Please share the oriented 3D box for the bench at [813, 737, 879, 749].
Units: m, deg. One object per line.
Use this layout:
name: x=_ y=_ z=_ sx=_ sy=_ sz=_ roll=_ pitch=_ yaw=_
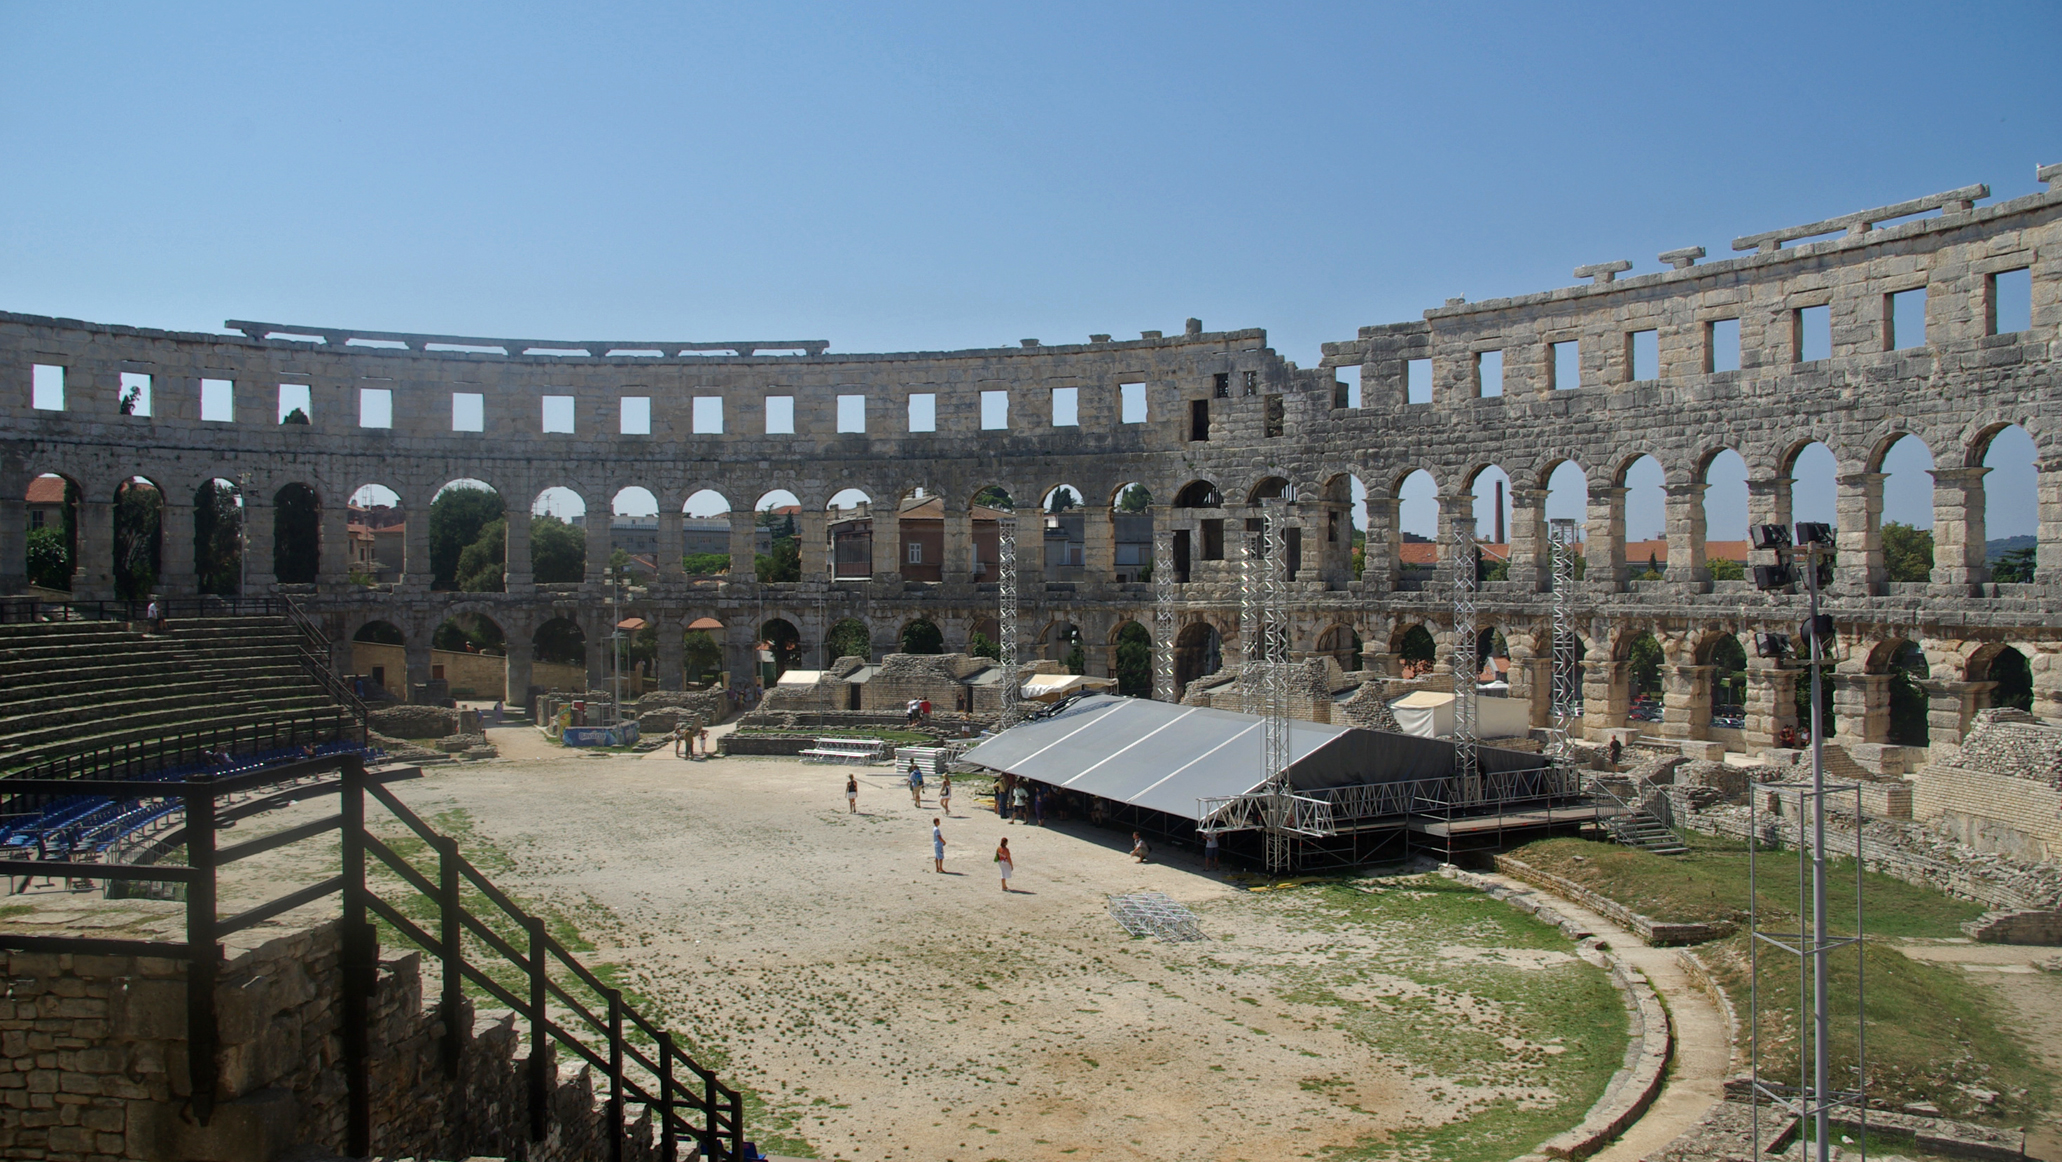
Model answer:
bench: x=-6.546 y=5.841 z=57.236 sx=2.580 sy=0.288 sz=0.967 roll=-2 pitch=-2 yaw=29
